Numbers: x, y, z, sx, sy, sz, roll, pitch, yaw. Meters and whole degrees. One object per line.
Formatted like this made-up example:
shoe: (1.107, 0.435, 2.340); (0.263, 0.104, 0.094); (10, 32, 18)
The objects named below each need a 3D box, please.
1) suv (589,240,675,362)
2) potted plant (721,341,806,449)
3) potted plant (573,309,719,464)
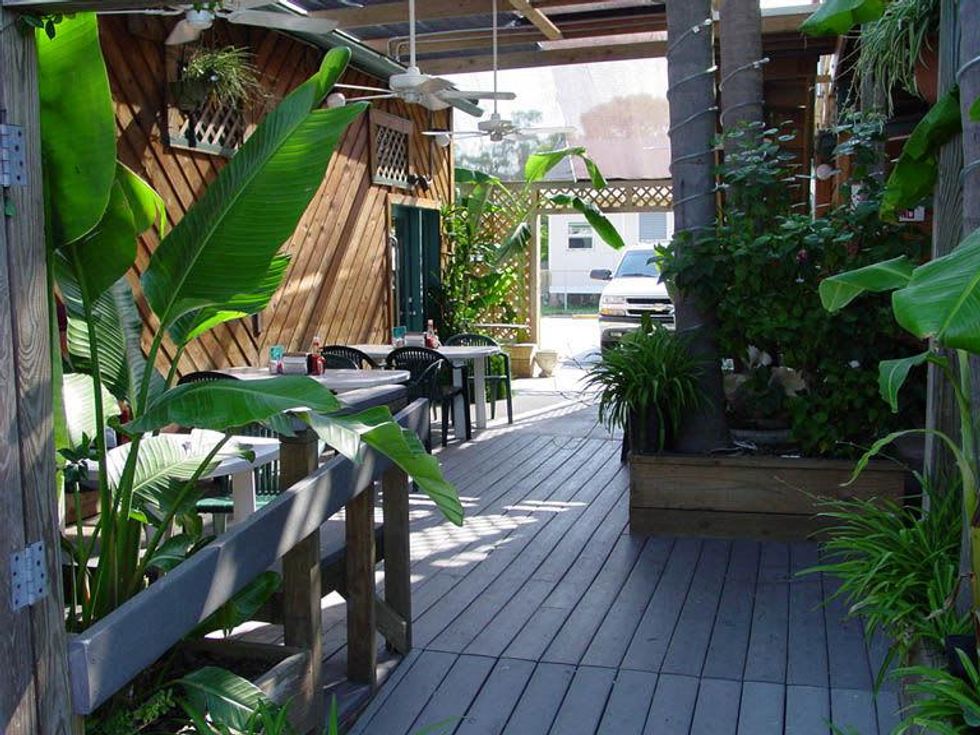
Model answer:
suv: (1.913, -1.089, 11.367); (1.153, 1.090, 1.933); (-2, 1, 9)
potted plant: (1.610, 0.193, 5.018); (0.615, 0.641, 0.638); (0, 4, 39)
potted plant: (0.872, 0.069, 4.750); (0.682, 0.637, 0.715); (2, 6, 33)
